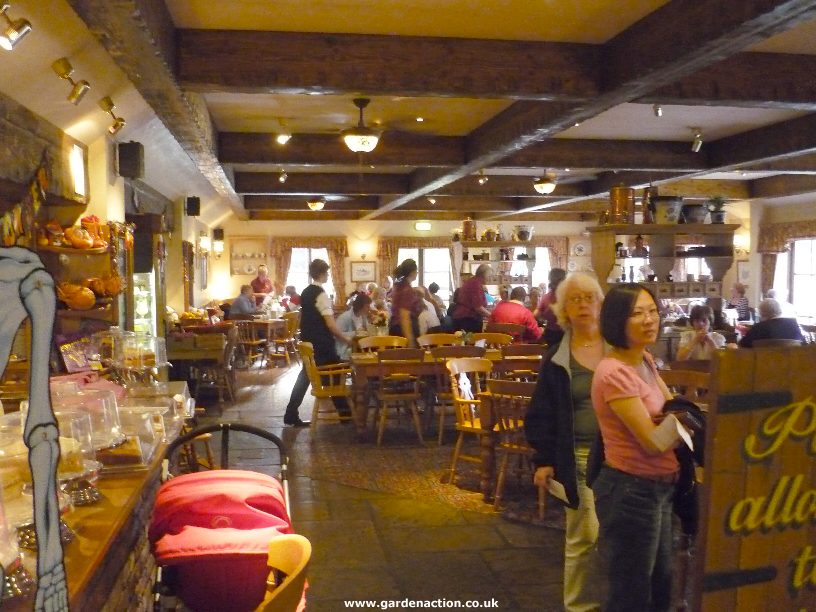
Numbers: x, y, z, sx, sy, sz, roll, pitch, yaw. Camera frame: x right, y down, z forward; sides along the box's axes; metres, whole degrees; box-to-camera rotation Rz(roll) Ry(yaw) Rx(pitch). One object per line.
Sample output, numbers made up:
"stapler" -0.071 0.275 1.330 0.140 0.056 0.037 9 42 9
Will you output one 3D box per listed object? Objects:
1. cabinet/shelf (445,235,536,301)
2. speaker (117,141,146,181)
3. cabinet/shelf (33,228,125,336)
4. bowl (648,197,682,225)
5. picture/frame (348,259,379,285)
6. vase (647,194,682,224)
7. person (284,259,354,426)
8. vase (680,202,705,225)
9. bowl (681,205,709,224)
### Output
"cabinet/shelf" 1.836 -0.838 13.117 2.302 1.651 0.729 -1 1 -13
"speaker" -2.618 -1.384 5.862 0.240 0.332 0.206 -2 5 -29
"cabinet/shelf" -2.694 -0.224 5.231 0.537 0.952 1.071 1 4 9
"bowl" 2.892 -1.058 7.018 0.369 0.261 0.336 0 2 0
"picture/frame" -1.274 -0.973 17.293 1.108 0.764 0.097 -1 2 -14
"vase" 2.933 -1.078 7.007 0.375 0.265 0.341 0 2 3
"person" -1.020 0.432 7.344 1.066 1.820 0.718 -2 4 -12
"vase" 3.253 -1.051 7.055 0.269 0.169 0.273 1 -2 -44
"bowl" 3.275 -1.040 7.021 0.267 0.153 0.241 -1 5 -6
